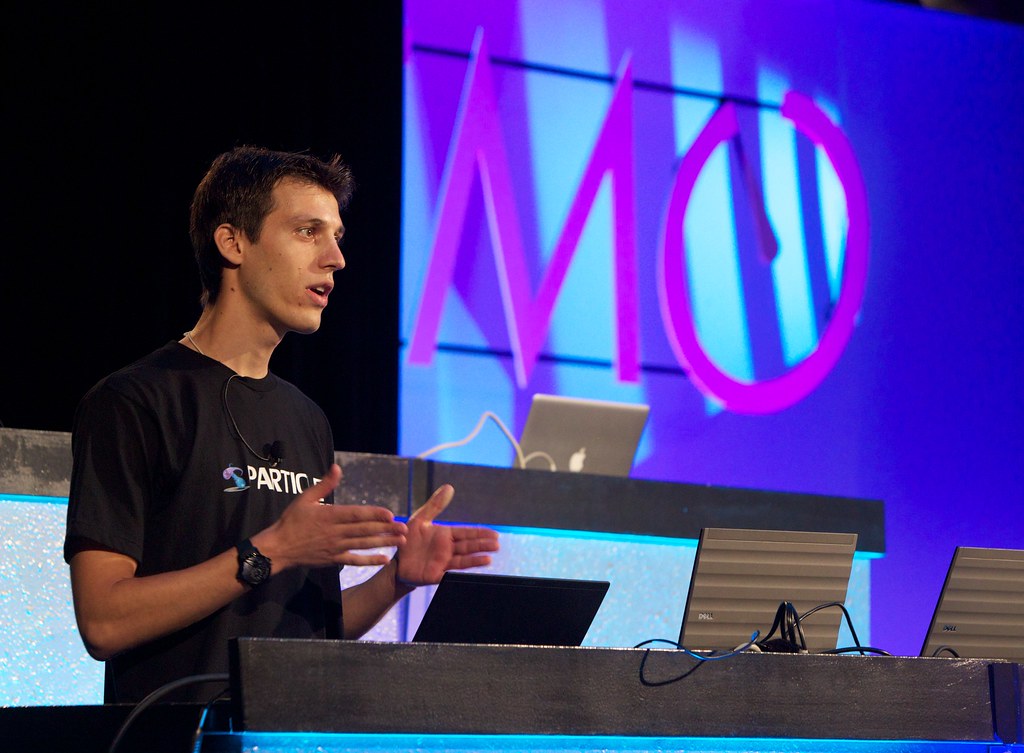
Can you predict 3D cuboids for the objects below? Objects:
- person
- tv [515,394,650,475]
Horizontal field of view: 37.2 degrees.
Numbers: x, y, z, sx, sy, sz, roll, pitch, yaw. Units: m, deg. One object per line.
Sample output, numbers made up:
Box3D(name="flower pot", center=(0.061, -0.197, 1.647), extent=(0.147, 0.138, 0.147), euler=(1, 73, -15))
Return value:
Box3D(name="person", center=(-0.630, 0.344, 4.163), extent=(0.999, 1.960, 0.977), euler=(-2, -8, 29))
Box3D(name="tv", center=(0.230, 0.189, 4.925), extent=(0.394, 0.256, 0.119), euler=(9, 1, 0))
